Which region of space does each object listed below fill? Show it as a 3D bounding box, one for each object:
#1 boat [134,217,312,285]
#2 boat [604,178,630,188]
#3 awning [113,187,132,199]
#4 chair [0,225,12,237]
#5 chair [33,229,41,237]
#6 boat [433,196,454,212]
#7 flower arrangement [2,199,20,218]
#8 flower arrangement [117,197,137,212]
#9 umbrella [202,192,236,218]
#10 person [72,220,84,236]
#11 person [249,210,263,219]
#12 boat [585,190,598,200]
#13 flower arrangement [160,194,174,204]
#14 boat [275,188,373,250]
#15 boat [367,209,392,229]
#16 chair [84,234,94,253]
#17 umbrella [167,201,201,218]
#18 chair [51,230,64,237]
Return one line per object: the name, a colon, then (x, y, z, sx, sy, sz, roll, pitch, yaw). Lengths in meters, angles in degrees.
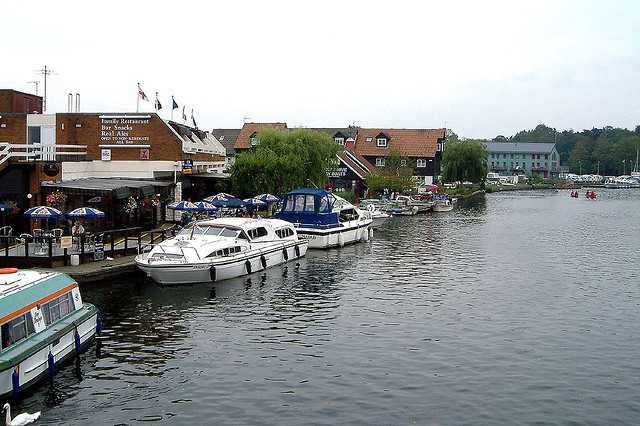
boat: (-6.217, 2.151, 46.638, 5.874, 3.278, 13.985, 6, 9, 33)
boat: (80.439, -8.226, 189.275, 6.901, 2.465, 3.611, -2, 10, -5)
awning: (-13.855, -1.420, 48.830, 0.525, 0.784, 1.565, 6, 15, 19)
chair: (-20.752, 1.163, 46.085, 0.802, 0.897, 0.582, 1, 5, -3)
chair: (-18.172, 1.262, 44.781, 0.395, 0.462, 0.380, 2, -3, -5)
boat: (15.798, -0.960, 90.016, 1.657, 1.429, 3.459, 10, 17, 32)
flower arrangement: (-20.977, -0.157, 47.602, 1.292, 0.468, 1.231, 11, 27, 12)
flower arrangement: (-14.004, -0.628, 51.022, 1.220, 0.498, 1.544, 3, 21, 0)
umbrella: (-8.374, -0.622, 58.185, 2.636, 2.415, 2.848, 0, 0, 5)
person: (-15.779, 0.949, 45.360, 0.955, 1.117, 0.445, -1, -4, 22)
person: (-5.815, 0.089, 62.248, 1.090, 0.357, 0.714, 0, 5, -27)
boat: (52.656, -3.562, 135.961, 2.514, 1.556, 4.249, 5, 12, 20)
flower arrangement: (-12.349, -1.132, 55.835, 0.808, 0.950, 0.866, 1, 6, 17)
boat: (0.895, 0.296, 59.401, 6.234, 4.053, 12.504, 4, 5, 27)
boat: (5.663, 0.605, 67.575, 1.915, 1.426, 4.375, -1, -2, 5)
chair: (-14.236, 1.746, 43.013, 0.608, 1.080, 1.297, -4, 15, -17)
umbrella: (-10.439, -0.434, 53.455, 2.157, 1.431, 3.939, -3, 15, -16)
chair: (-17.511, 1.295, 46.382, 0.537, 0.250, 0.710, 0, -5, -1)
